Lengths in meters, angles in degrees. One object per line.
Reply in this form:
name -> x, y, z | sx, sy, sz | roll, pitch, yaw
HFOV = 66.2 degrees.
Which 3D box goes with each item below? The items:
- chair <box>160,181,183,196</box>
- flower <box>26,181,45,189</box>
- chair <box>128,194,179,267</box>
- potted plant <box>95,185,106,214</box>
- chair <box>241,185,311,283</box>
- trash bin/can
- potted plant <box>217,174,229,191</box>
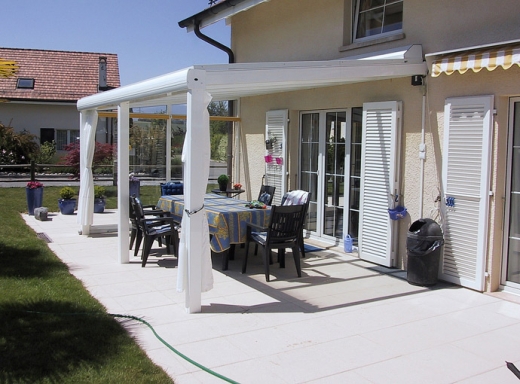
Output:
chair -> -2.369, -0.088, 10.625 | 0.687, 0.529, 0.695 | 0, 11, -16
flower -> -7.733, -0.238, 13.640 | 0.454, 0.281, 0.456 | -1, 3, 0
chair -> -2.074, 0.768, 8.552 | 1.294, 1.840, 1.307 | -3, 8, -22
potted plant -> -5.135, 0.235, 12.718 | 0.326, 0.852, 0.382 | -2, 8, -23
chair -> 0.338, 0.726, 7.785 | 1.353, 2.265, 1.517 | -2, 7, -27
trash bin/can -> 2.807, 1.027, 6.803 | 0.585, 1.118, 0.413 | 5, 9, 23
potted plant -> -1.074, -0.242, 11.478 | 0.297, 0.458, 0.390 | 0, 8, -8
